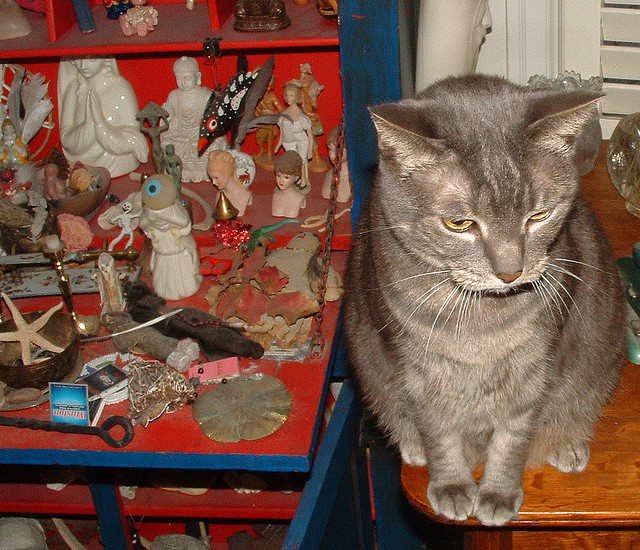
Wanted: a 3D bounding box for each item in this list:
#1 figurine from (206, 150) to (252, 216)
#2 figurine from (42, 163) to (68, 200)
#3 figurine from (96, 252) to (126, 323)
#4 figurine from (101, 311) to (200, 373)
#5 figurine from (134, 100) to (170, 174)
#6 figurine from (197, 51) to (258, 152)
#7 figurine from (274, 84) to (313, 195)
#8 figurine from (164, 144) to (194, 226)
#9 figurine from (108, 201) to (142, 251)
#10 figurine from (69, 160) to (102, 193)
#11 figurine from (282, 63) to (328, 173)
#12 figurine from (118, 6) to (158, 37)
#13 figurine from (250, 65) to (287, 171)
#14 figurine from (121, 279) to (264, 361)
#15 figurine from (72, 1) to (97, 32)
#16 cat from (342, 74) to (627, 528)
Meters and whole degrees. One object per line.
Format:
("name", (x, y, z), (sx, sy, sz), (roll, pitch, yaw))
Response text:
("figurine", (-0.287, -0.303, 1.823), (0.116, 0.215, 0.124), (-19, 42, -15))
("figurine", (-0.840, -0.291, 1.810), (0.082, 0.089, 0.057), (22, 25, -16))
("figurine", (-0.550, 0.029, 1.508), (0.063, 0.188, 0.079), (9, 34, 6))
("figurine", (-0.419, 0.146, 1.405), (0.245, 0.071, 0.108), (26, 44, 27))
("figurine", (-0.528, -0.415, 1.848), (0.116, 0.264, 0.044), (-10, 29, -19))
("figurine", (-0.304, -0.551, 1.854), (0.172, 0.285, 0.167), (8, 27, 21))
("figurine", (-0.084, -0.448, 1.927), (0.128, 0.377, 0.098), (5, 33, 12))
("figurine", (-0.426, -0.264, 1.801), (0.095, 0.252, 0.096), (-23, 36, -35))
("figurine", (-0.594, -0.142, 1.730), (0.080, 0.133, 0.106), (19, 32, 39))
("figurine", (-0.769, -0.321, 1.854), (0.081, 0.045, 0.116), (-18, 61, -28))
("figurine", (-0.043, -0.537, 1.965), (0.136, 0.341, 0.096), (8, 19, 22))
("figurine", (-0.541, -0.757, 1.727), (0.090, 0.081, 0.121), (2, 26, 10))
("figurine", (-0.172, -0.525, 2.025), (0.142, 0.379, 0.084), (4, 33, 11))
("figurine", (-0.332, 0.132, 1.428), (0.394, 0.119, 0.109), (14, 11, 18))
("figurine", (-0.718, -0.779, 1.744), (0.054, 0.084, 0.113), (-12, 27, -18))
("cat", (0.333, -0.003, 1.195), (0.489, 0.819, 0.737), (-2, 27, 11))
